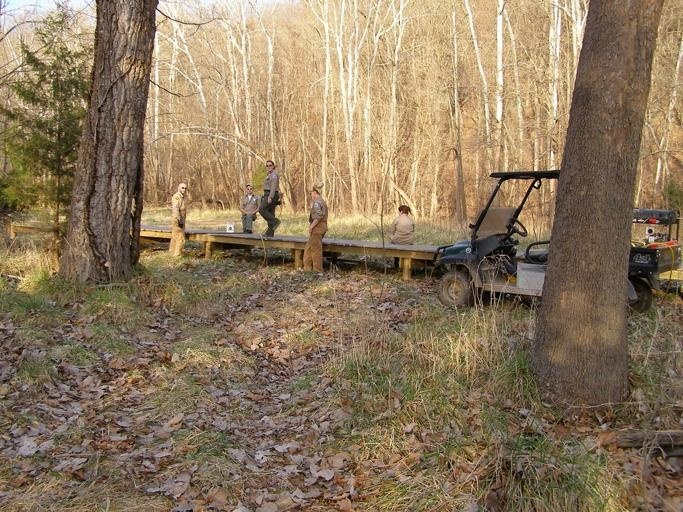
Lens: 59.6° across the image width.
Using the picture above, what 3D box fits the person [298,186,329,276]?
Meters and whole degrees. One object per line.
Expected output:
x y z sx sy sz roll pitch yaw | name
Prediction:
-0.572 -0.575 13.142 0.479 1.751 0.944 2 6 -5 | person

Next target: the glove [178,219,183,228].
-3.875 -0.800 14.454 0.111 0.190 0.172 6 22 5 | glove

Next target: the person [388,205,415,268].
1.309 -0.520 12.896 0.441 1.304 0.665 -3 14 -8 | person

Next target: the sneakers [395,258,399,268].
1.294 0.156 13.934 0.085 0.195 0.184 0 4 9 | sneakers
